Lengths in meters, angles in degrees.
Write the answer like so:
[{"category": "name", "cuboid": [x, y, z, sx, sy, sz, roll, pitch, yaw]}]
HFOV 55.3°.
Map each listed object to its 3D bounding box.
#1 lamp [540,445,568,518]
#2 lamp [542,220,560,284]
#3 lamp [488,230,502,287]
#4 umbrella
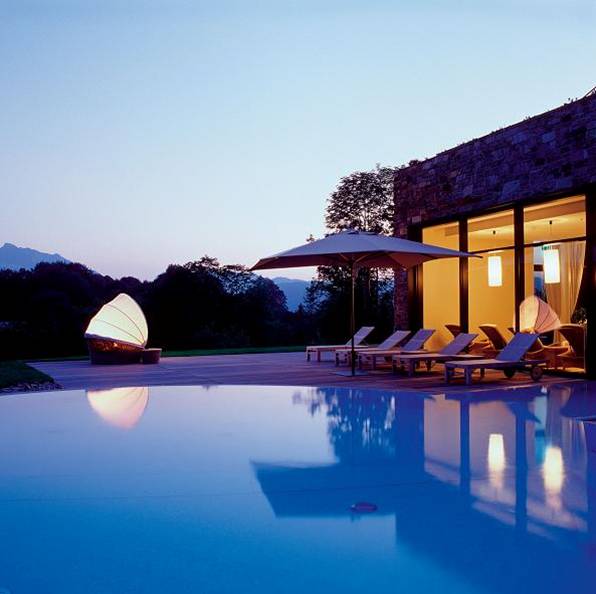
[{"category": "lamp", "cuboid": [1.803, 1.305, 4.008, 0.105, 0.524, 0.123, -9, 16, 20]}, {"category": "lamp", "cuboid": [4.843, -0.799, 10.878, 0.243, 1.157, 0.250, 4, 30, 34]}, {"category": "lamp", "cuboid": [4.248, -0.790, 12.335, 0.159, 1.218, 0.531, 0, 3, -7]}, {"category": "umbrella", "cuboid": [1.079, 0.111, 10.554, 3.377, 2.659, 2.188, 0, 3, -15]}]
